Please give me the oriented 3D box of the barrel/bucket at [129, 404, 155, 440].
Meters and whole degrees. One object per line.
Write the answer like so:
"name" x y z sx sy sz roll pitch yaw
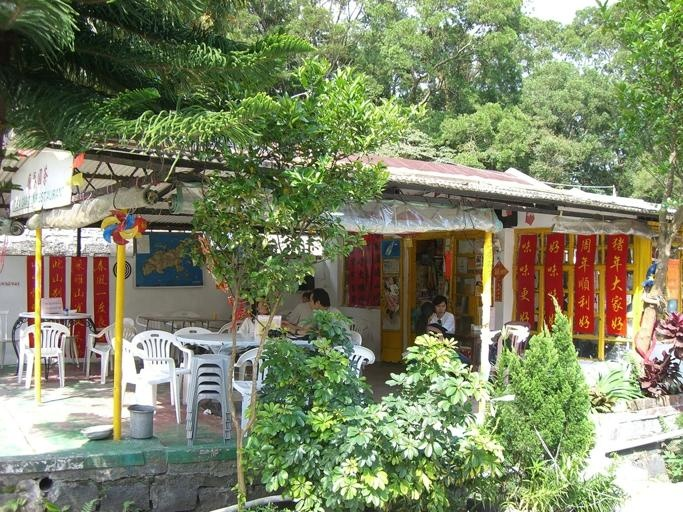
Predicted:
"barrel/bucket" -2.171 1.812 6.713 0.263 0.335 0.265 -1 -4 0

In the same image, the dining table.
"dining table" -5.086 1.483 10.873 1.216 0.951 1.224 2 -3 -21

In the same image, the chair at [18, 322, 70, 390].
"chair" -4.575 1.503 9.690 0.595 0.806 0.666 -3 5 5

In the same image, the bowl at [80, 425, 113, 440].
"bowl" -2.633 1.918 6.658 0.339 0.125 0.253 -1 -4 -4
